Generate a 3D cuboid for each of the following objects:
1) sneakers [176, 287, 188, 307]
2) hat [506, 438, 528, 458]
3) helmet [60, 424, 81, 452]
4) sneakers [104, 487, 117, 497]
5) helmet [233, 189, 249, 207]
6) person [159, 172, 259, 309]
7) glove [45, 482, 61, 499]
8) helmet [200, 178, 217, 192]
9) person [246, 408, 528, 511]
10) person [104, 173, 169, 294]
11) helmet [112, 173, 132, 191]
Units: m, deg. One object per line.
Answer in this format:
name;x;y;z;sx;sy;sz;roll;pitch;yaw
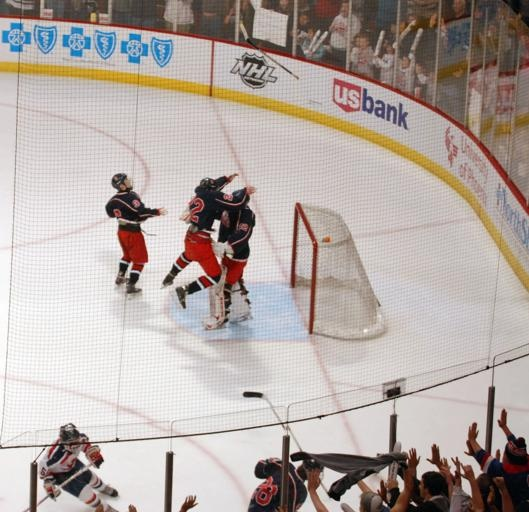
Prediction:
sneakers;-0.836;0.394;8.810;0.105;0.237;0.078;-17;5;-21
hat;1.935;1.463;6.771;0.119;0.118;0.167;0;14;-24
helmet;-1.500;1.404;6.697;0.158;0.193;0.270;2;15;-13
sneakers;-1.239;1.872;6.990;0.122;0.039;0.063;30;0;34
helmet;-0.252;-0.595;8.826;0.176;0.208;0.171;5;15;-1
person;-0.630;-0.120;8.965;0.753;1.360;0.536;-1;17;-22
glove;-1.654;1.797;6.821;0.150;0.118;0.116;4;12;1
helmet;-0.587;-0.731;8.935;0.147;0.122;0.107;-15;35;-23
person;0.993;1.692;7.003;2.402;0.840;0.746;-8;-26;-8
person;-1.446;-0.200;9.686;0.533;1.381;0.932;-21;38;-37
helmet;-1.555;-0.778;9.333;0.187;0.199;0.233;-3;17;-27
